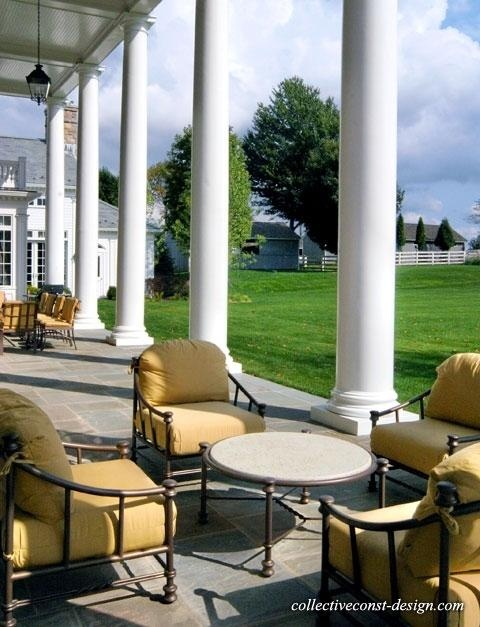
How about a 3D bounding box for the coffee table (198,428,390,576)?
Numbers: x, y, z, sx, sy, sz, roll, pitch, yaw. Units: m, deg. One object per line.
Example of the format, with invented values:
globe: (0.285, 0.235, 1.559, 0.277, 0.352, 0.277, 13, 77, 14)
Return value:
coffee table: (0.223, 0.977, 3.307, 0.996, 0.517, 0.981, 27, 2, 16)
